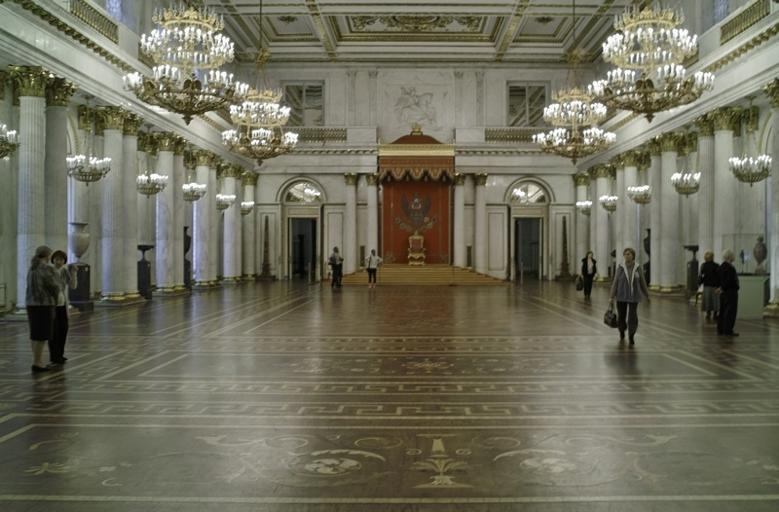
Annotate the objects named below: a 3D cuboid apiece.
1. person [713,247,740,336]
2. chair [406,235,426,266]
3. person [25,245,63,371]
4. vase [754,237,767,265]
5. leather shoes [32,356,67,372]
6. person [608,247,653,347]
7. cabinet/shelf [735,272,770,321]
[{"bbox_3d":[7.206,0.876,14.349,0.425,1.752,0.958,5,14,26],"label":"person"},{"bbox_3d":[1.188,-0.289,30.495,0.811,1.262,0.839,-1,12,0],"label":"chair"},{"bbox_3d":[-6.003,0.922,11.608,0.554,2.052,0.720,-7,14,-27],"label":"person"},{"bbox_3d":[10.421,-0.135,18.900,0.327,0.820,0.766,6,14,28],"label":"vase"},{"bbox_3d":[-5.884,1.910,11.617,0.543,0.217,0.166,-3,5,-9],"label":"leather shoes"},{"bbox_3d":[4.848,0.858,13.694,0.692,2.028,1.346,4,13,23],"label":"person"},{"bbox_3d":[8.699,1.014,16.210,0.693,1.060,0.427,2,13,14],"label":"cabinet/shelf"}]
